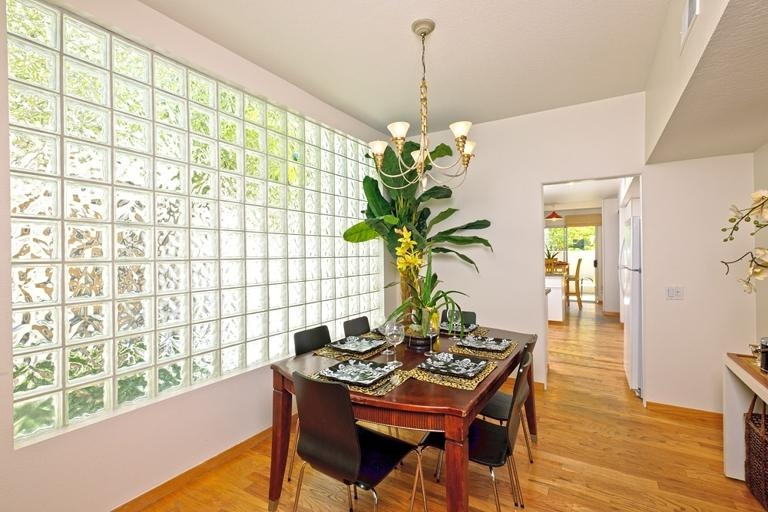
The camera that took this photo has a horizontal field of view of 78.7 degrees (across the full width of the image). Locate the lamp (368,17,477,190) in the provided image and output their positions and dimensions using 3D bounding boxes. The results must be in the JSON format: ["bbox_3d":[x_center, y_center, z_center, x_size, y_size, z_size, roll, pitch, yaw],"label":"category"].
[{"bbox_3d":[0.356,-1.365,4.051,0.803,1.171,0.879,-2,8,10],"label":"lamp"}]

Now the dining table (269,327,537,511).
[{"bbox_3d":[0.080,1.033,3.521,1.326,0.926,1.943,-2,-3,33],"label":"dining table"}]
